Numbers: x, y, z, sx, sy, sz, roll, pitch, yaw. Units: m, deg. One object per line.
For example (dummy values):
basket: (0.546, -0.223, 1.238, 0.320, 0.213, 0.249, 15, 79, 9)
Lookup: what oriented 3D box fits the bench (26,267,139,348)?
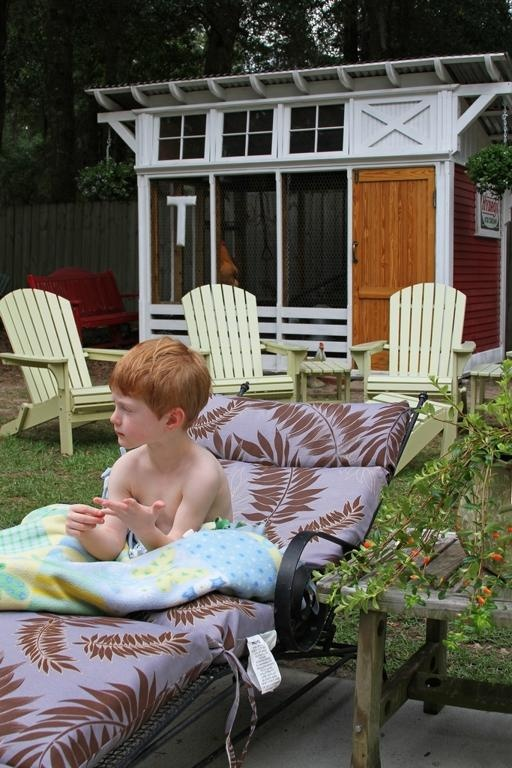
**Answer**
bench: (-2.278, -1.066, 10.147, 1.054, 1.200, 1.810, 8, 13, 28)
